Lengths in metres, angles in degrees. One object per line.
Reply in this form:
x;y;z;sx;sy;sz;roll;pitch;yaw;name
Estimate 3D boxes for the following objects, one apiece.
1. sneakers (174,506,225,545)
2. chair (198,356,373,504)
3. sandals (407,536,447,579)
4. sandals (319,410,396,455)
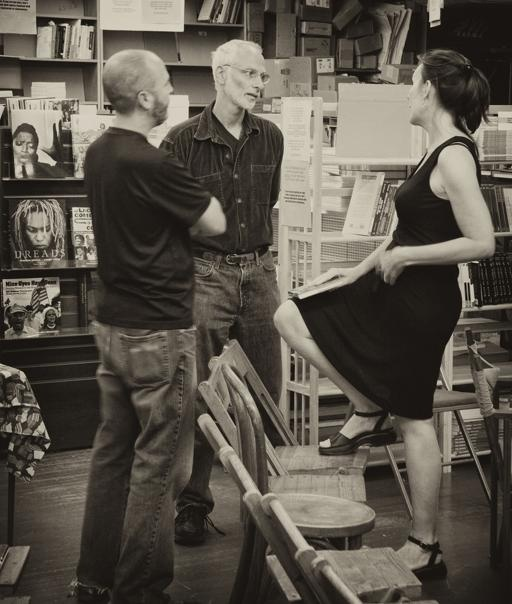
-0.261;0.928;2.728;0.127;0.089;0.194;7;-13;13;sneakers
0.096;0.432;2.219;0.457;0.736;0.431;-3;33;9;chair
0.602;0.889;2.281;0.171;0.141;0.085;2;3;-17;sandals
0.357;0.465;2.295;0.261;0.149;0.120;-5;3;-12;sandals
